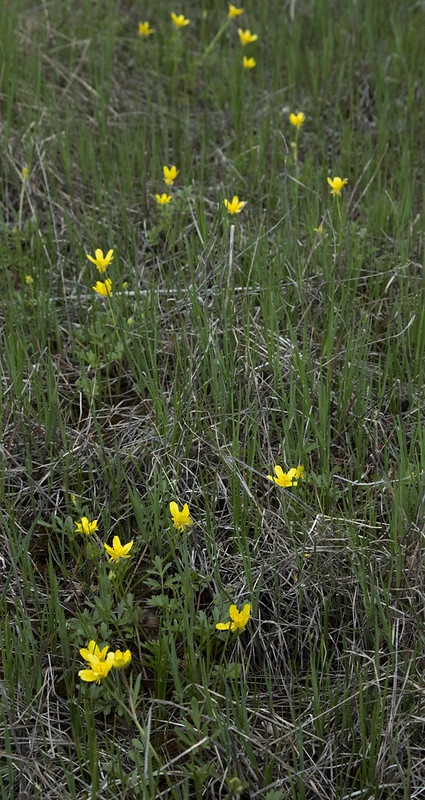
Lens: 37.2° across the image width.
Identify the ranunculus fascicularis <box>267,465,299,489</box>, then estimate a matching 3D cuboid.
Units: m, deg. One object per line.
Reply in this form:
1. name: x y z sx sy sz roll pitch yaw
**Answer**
1. ranunculus fascicularis: 0.141 0.159 1.243 0.050 0.035 0.062 6 35 7
